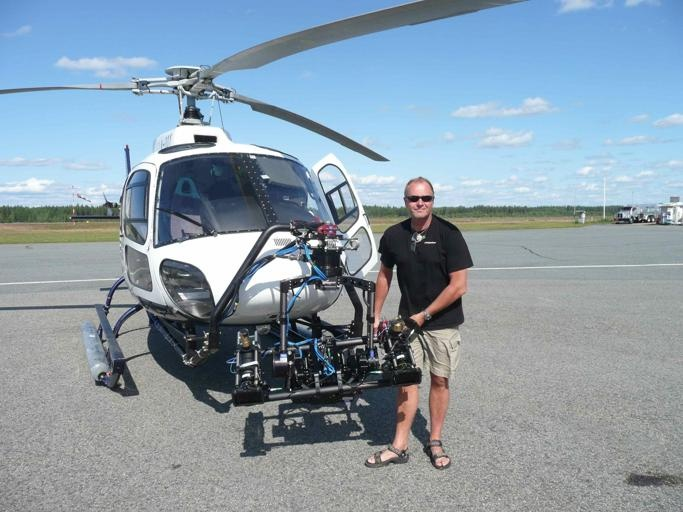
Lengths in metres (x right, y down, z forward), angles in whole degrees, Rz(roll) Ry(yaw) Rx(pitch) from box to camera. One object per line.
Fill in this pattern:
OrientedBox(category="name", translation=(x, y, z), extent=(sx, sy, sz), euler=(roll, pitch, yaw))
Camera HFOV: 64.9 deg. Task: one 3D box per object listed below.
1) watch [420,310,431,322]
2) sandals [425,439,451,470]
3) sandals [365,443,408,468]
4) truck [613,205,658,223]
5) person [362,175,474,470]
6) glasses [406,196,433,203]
OrientedBox(category="watch", translation=(0.729, 0.515, 4.632), extent=(0.069, 0.092, 0.092), euler=(-3, -2, 7))
OrientedBox(category="sandals", translation=(0.836, 1.730, 4.699), extent=(0.125, 0.112, 0.316), euler=(-5, -3, -7))
OrientedBox(category="sandals", translation=(0.389, 1.738, 4.753), extent=(0.454, 0.165, 0.142), euler=(-4, 5, -11))
OrientedBox(category="truck", translation=(35.322, -5.154, 64.692), extent=(3.870, 2.089, 5.576), euler=(4, 13, 19))
OrientedBox(category="person", translation=(0.703, 0.532, 4.789), extent=(0.856, 2.511, 0.978), euler=(1, 14, 9))
OrientedBox(category="glasses", translation=(0.679, -0.504, 4.720), extent=(0.227, 0.063, 0.070), euler=(1, 13, 7))
